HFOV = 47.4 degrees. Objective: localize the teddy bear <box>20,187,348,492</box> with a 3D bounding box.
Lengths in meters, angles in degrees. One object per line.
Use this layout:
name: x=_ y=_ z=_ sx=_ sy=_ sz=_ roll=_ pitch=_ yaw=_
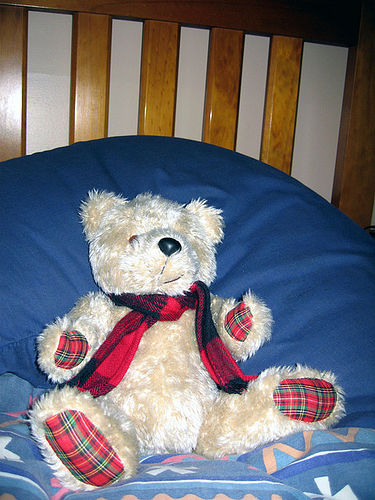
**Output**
teddy bear: x=-0.031 y=0.058 z=0.732 sx=0.449 sy=0.482 sz=0.341 roll=-1 pitch=-14 yaw=-19
